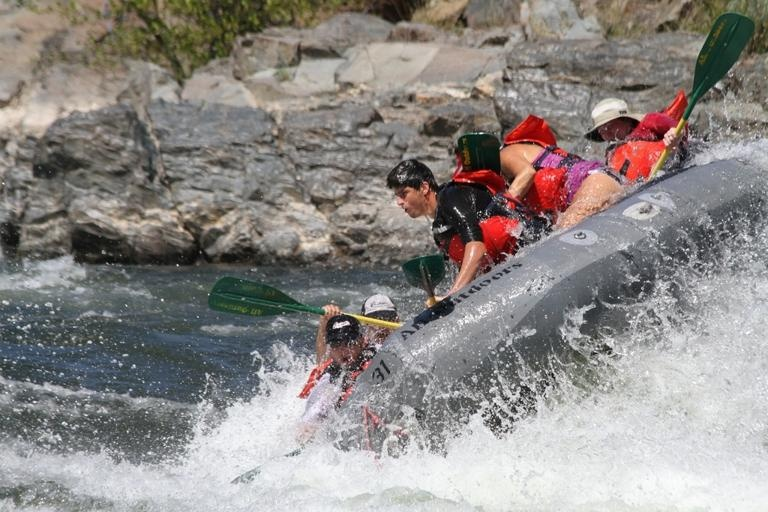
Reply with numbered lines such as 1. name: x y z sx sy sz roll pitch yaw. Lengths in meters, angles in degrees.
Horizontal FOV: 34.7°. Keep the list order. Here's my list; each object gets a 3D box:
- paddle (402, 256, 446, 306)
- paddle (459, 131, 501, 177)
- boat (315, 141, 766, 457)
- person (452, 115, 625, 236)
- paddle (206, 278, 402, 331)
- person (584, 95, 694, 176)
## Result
1. paddle: 0.468 0.299 14.312 0.385 0.628 0.109 -6 48 9
2. paddle: 1.043 -1.173 13.596 0.315 0.535 0.123 -5 42 3
3. boat: 1.760 0.368 13.452 4.570 2.379 0.681 -36 92 -6
4. person: 1.783 -1.074 14.056 1.805 0.678 1.176 21 39 -2
5. paddle: -1.029 0.626 15.230 3.078 0.521 0.126 9 13 5
6. person: 3.069 -1.441 14.898 0.677 0.837 1.444 -25 26 -25
